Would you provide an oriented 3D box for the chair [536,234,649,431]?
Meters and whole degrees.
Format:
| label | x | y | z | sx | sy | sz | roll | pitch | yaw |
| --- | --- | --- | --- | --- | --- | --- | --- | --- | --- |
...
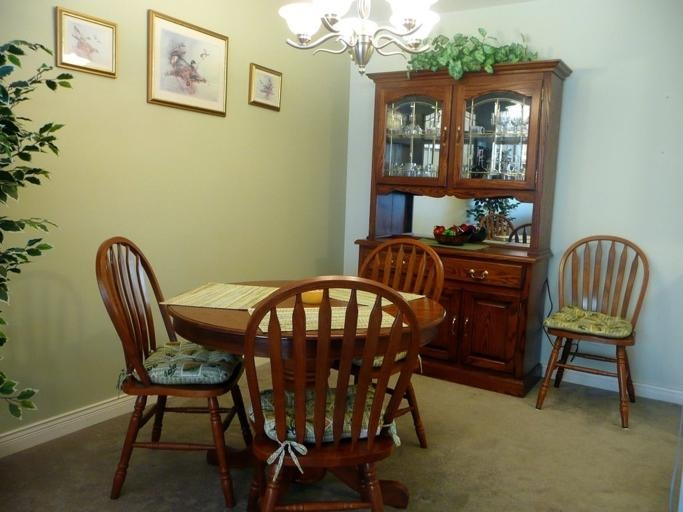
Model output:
| label | x | y | z | sx | sy | sz | roll | pitch | yaw |
| --- | --- | --- | --- | --- | --- | --- | --- | --- | --- |
| chair | 1.707 | 0.440 | 3.430 | 0.611 | 1.110 | 0.780 | 9 | 14 | 32 |

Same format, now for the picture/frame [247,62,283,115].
| label | x | y | z | sx | sy | sz | roll | pitch | yaw |
| --- | --- | --- | --- | --- | --- | --- | --- | --- | --- |
| picture/frame | -0.562 | -1.213 | 3.653 | 0.042 | 0.369 | 0.413 | 5 | 6 | 37 |

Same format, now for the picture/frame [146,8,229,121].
| label | x | y | z | sx | sy | sz | roll | pitch | yaw |
| --- | --- | --- | --- | --- | --- | --- | --- | --- | --- |
| picture/frame | -0.975 | -1.198 | 3.148 | 0.052 | 0.705 | 0.768 | 8 | 8 | 37 |

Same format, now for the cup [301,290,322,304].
| label | x | y | z | sx | sy | sz | roll | pitch | yaw |
| --- | --- | --- | --- | --- | --- | --- | --- | --- | --- |
| cup | -0.144 | 0.203 | 2.449 | 0.092 | 0.059 | 0.093 | 0 | 3 | 0 |

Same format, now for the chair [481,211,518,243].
| label | x | y | z | sx | sy | sz | roll | pitch | yaw |
| --- | --- | --- | --- | --- | --- | --- | --- | --- | --- |
| chair | 1.197 | -0.204 | 3.901 | 0.176 | 0.184 | 0.239 | 4 | 8 | 24 |

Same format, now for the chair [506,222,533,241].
| label | x | y | z | sx | sy | sz | roll | pitch | yaw |
| --- | --- | --- | --- | --- | --- | --- | --- | --- | --- |
| chair | 1.344 | -0.183 | 3.856 | 0.123 | 0.180 | 0.121 | 2 | -3 | 41 |
